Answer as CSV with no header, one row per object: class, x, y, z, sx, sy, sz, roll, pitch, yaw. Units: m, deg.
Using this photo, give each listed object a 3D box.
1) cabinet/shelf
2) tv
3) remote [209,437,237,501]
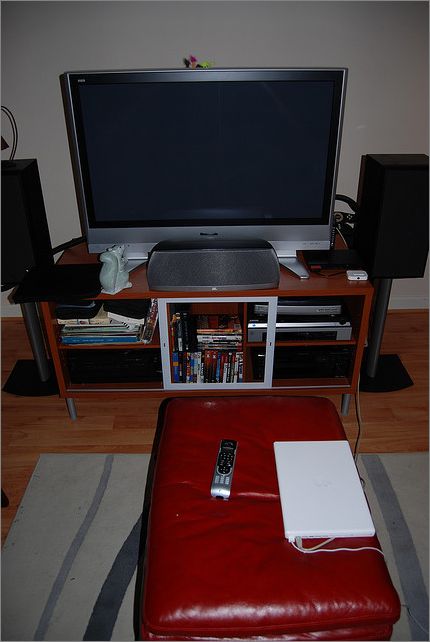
cabinet/shelf,-0.020,0.077,2.077,1.247,0.633,0.434,0,22,-3
tv,-0.024,-0.550,1.780,0.915,0.710,0.326,0,41,1
remote,0.030,0.395,1.260,0.055,0.025,0.197,4,29,10
